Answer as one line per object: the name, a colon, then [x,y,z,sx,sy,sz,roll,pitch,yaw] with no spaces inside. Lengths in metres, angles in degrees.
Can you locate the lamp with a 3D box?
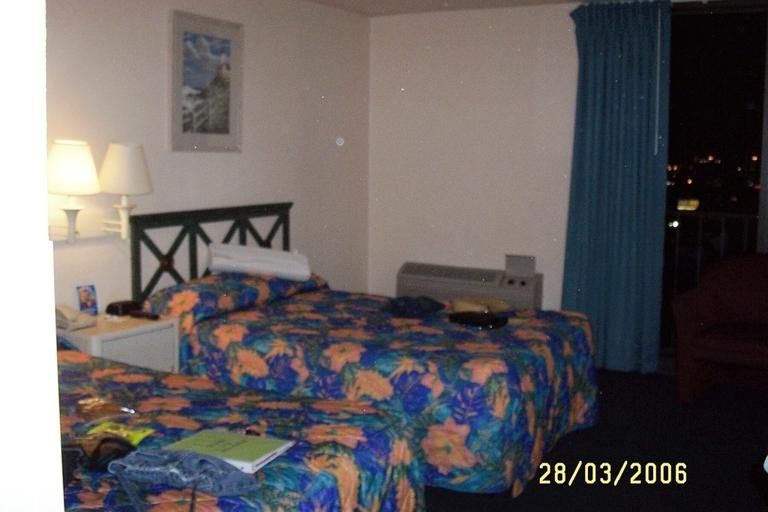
lamp: [-1.885,-0.421,4.321,0.655,0.671,0.454,-6,9,-36]

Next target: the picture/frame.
picture/frame: [-1.364,-1.304,5.023,0.116,0.998,0.651,4,9,34]

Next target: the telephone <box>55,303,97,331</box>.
telephone: [-1.994,0.389,4.219,0.226,0.126,0.319,-4,8,-24]

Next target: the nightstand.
nightstand: [-1.726,0.450,4.251,0.427,0.570,0.604,5,7,33]

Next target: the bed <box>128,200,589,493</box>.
bed: [-0.167,0.555,4.440,2.525,1.302,1.786,4,11,29]
